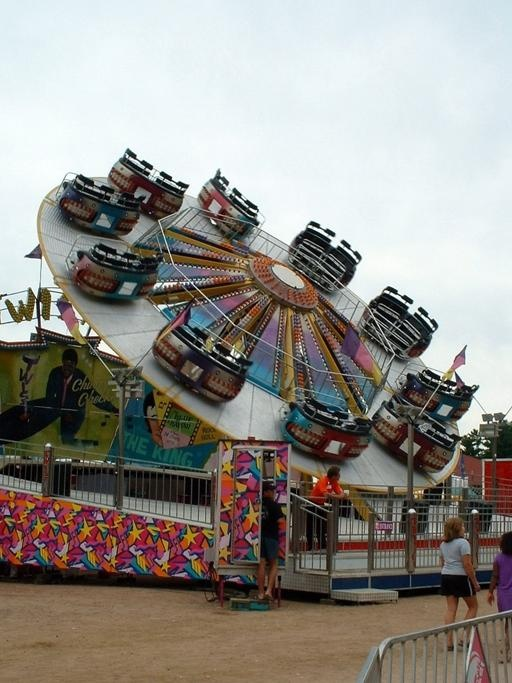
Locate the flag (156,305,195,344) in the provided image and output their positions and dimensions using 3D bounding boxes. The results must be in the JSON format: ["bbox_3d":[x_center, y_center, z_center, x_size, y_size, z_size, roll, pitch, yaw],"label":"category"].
[{"bbox_3d":[-2.176,-0.406,21.271,0.301,1.517,0.184,50,-35,-2],"label":"flag"}]

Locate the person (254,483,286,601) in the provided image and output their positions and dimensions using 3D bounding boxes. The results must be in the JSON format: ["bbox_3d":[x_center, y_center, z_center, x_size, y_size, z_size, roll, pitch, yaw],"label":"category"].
[{"bbox_3d":[0.205,3.111,12.256,0.356,1.765,0.405,5,-9,3],"label":"person"}]

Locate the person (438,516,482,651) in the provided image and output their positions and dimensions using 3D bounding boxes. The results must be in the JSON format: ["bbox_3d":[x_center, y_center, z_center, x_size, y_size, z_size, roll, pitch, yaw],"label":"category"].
[{"bbox_3d":[2.414,2.744,9.428,0.452,1.205,0.759,3,-8,15],"label":"person"}]

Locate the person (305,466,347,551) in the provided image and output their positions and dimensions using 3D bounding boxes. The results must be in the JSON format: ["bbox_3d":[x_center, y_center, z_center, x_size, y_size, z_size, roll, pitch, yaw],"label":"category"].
[{"bbox_3d":[1.216,3.004,14.175,0.635,1.505,1.108,4,-8,5],"label":"person"}]

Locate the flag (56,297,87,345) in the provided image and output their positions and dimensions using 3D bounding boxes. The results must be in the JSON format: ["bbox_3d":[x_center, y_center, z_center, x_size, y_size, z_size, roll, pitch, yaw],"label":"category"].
[{"bbox_3d":[-5.235,-0.676,22.313,0.479,1.676,0.096,-22,-1,25],"label":"flag"}]

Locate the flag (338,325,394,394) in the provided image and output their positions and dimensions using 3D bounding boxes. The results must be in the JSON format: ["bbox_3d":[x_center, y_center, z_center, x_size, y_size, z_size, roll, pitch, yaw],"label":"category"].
[{"bbox_3d":[3.564,0.575,26.448,1.790,1.958,1.268,6,-8,-14],"label":"flag"}]
